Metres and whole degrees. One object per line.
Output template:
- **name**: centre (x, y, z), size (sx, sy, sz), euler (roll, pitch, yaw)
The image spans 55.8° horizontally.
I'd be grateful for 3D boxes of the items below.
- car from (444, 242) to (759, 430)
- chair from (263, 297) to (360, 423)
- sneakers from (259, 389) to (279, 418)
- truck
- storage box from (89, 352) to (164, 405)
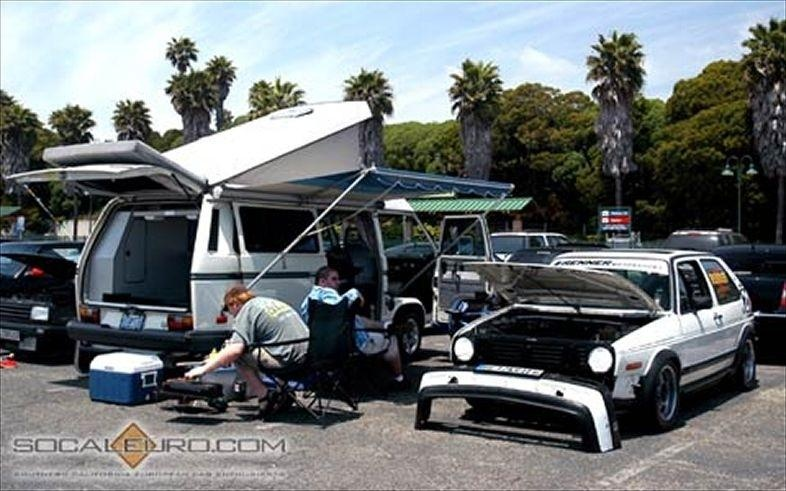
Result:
- **car**: centre (3.566, 1.340, 11.369), size (2.632, 1.624, 3.776), euler (-3, -4, 45)
- **chair**: centre (-1.339, 1.729, 11.685), size (1.644, 2.077, 1.712), euler (-6, -6, 37)
- **sneakers**: centre (-1.814, 2.339, 10.943), size (0.185, 0.500, 0.190), euler (12, -5, 22)
- **truck**: centre (-1.901, -0.436, 13.538), size (5.637, 3.463, 6.854), euler (1, 3, 41)
- **storage box**: centre (-4.086, 2.062, 11.449), size (0.943, 0.619, 0.726), euler (-1, -5, 31)
